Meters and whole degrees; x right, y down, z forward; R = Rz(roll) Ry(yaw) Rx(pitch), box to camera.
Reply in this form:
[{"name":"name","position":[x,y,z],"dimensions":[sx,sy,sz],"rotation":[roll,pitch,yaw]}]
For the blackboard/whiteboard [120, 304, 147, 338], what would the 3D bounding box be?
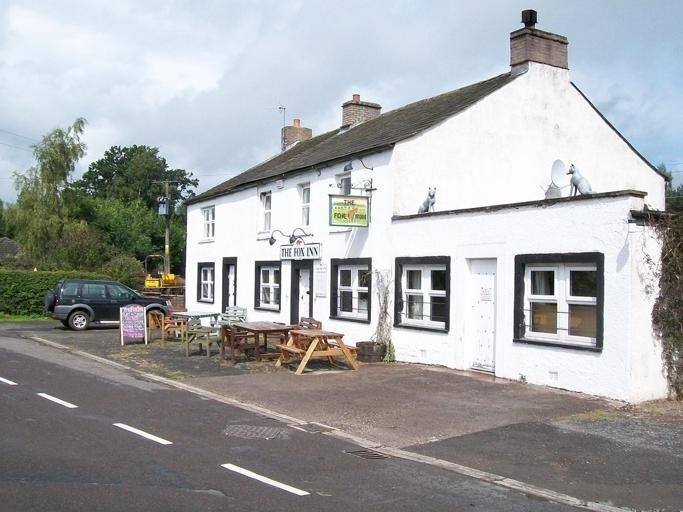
[{"name":"blackboard/whiteboard","position":[-6.342,1.938,20.288],"dimensions":[0.902,1.513,0.808],"rotation":[2,-7,-31]}]
